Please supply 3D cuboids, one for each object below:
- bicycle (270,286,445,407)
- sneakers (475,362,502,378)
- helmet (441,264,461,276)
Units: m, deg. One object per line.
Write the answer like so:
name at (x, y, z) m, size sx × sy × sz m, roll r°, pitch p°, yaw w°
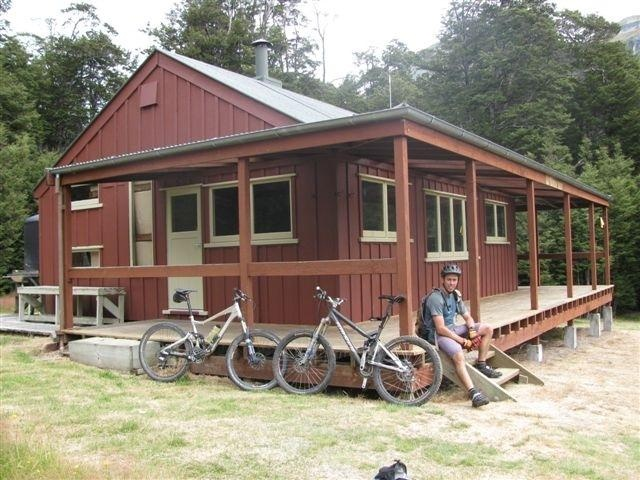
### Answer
bicycle at (0.556, 1.701, 9.534) m, size 2.627 × 1.578 × 1.336 m, roll 3°, pitch -14°, yaw 18°
sneakers at (2.549, 2.004, 9.653) m, size 0.489 × 0.228 × 0.179 m, roll 3°, pitch 1°, yaw 15°
helmet at (1.984, 0.470, 9.481) m, size 0.346 × 0.185 × 0.499 m, roll 2°, pitch -2°, yaw 9°
